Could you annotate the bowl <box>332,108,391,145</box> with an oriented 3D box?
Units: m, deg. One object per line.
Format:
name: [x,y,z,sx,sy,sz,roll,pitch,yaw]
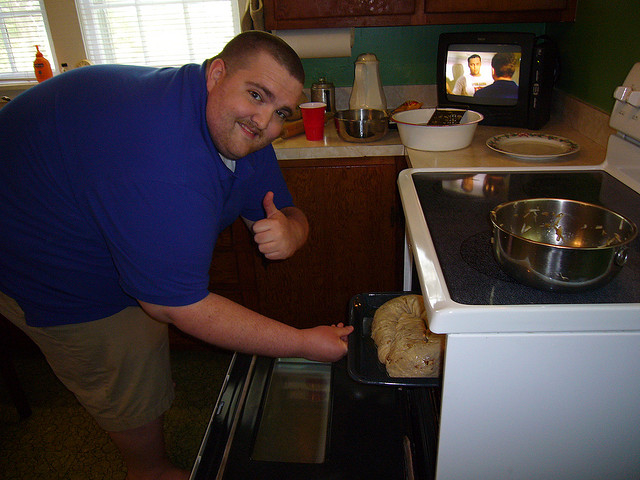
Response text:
bowl: [0.173,-0.465,2.009,0.265,0.112,0.256,-1,25,1]

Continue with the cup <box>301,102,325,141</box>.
cup: [-0.008,-0.478,1.946,0.125,0.140,0.125,0,15,0]

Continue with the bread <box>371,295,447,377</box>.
bread: [0.228,0.224,1.209,0.188,0.077,0.253,-9,36,4]

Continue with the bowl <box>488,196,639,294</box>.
bowl: [0.506,0.014,1.046,0.235,0.117,0.278,-5,35,-2]

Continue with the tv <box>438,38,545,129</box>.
tv: [0.728,-0.693,2.082,0.420,0.368,0.241,19,38,40]

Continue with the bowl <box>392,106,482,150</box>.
bowl: [0.406,-0.408,1.780,0.233,0.082,0.225,-7,23,3]
